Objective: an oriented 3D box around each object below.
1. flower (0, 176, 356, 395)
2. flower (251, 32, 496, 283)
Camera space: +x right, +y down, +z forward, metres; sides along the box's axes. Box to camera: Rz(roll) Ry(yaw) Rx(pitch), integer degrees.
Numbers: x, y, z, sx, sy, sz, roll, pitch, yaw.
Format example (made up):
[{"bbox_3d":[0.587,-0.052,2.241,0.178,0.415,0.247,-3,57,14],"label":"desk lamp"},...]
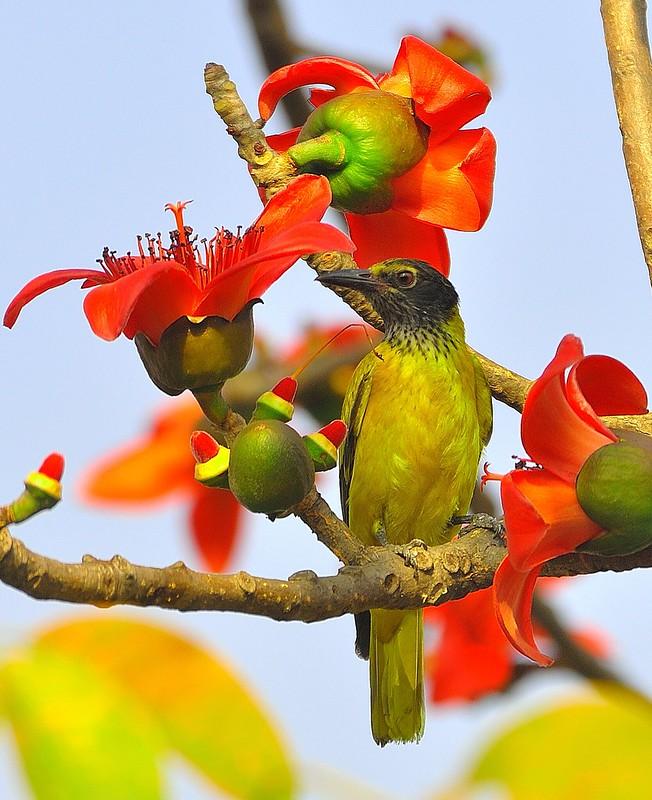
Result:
[{"bbox_3d":[-0.222,-0.270,2.180,0.460,0.276,0.455,-22,9,9],"label":"flower"},{"bbox_3d":[0.060,-0.478,2.625,0.532,0.242,0.459,2,-2,-45],"label":"flower"}]
